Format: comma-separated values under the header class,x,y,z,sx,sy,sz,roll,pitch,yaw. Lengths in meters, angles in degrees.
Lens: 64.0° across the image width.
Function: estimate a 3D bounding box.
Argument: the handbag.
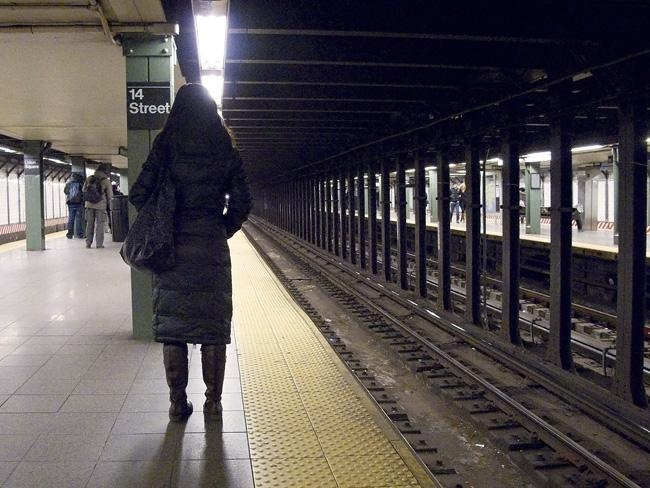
class,x,y,z,sx,sy,sz,roll,pitch,yaw
handbag,-1.486,-0.304,4.418,0.431,1.126,0.376,3,5,-15
